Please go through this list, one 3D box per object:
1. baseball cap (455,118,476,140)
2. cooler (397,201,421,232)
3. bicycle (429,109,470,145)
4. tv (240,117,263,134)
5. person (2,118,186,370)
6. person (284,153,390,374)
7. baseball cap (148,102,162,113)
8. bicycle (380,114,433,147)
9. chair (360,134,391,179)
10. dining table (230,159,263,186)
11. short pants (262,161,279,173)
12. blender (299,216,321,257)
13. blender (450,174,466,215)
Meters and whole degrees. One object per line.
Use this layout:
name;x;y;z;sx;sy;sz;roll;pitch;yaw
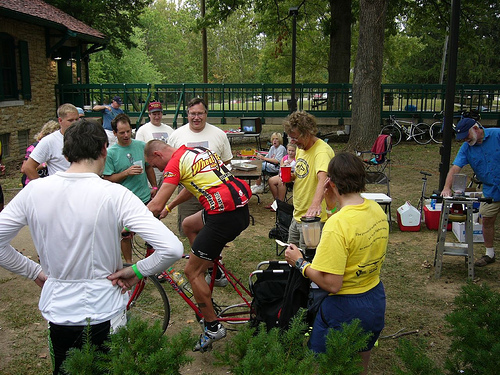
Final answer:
baseball cap;2.800;-0.771;6.392;0.225;0.274;0.229;4;10;23
cooler;2.677;0.497;8.445;0.360;0.465;0.508;0;4;2
bicycle;7.487;-2.292;17.979;1.776;1.100;0.485;-5;-3;13
tv;0.009;-2.027;15.972;0.644;0.514;0.566;0;9;-3
person;-1.140;0.427;3.437;1.123;1.793;0.707;6;11;32
person;0.685;0.514;3.742;0.736;1.521;0.377;1;9;2
baseball cap;-1.659;-1.388;8.477;0.217;0.178;0.303;-1;9;-11
bicycle;5.904;-2.215;18.527;1.943;1.245;0.985;0;13;32
chair;2.802;-0.692;11.087;0.719;0.965;0.702;-7;12;-7
dining table;-0.106;-0.254;9.677;0.629;0.371;1.516;1;14;0
short pants;0.364;-0.442;10.350;0.287;0.217;0.529;-5;11;-32
blender;0.482;0.394;3.929;0.173;0.294;0.198;-3;-2;-18
blender;2.649;0.084;6.269;0.158;0.533;0.251;4;10;22
